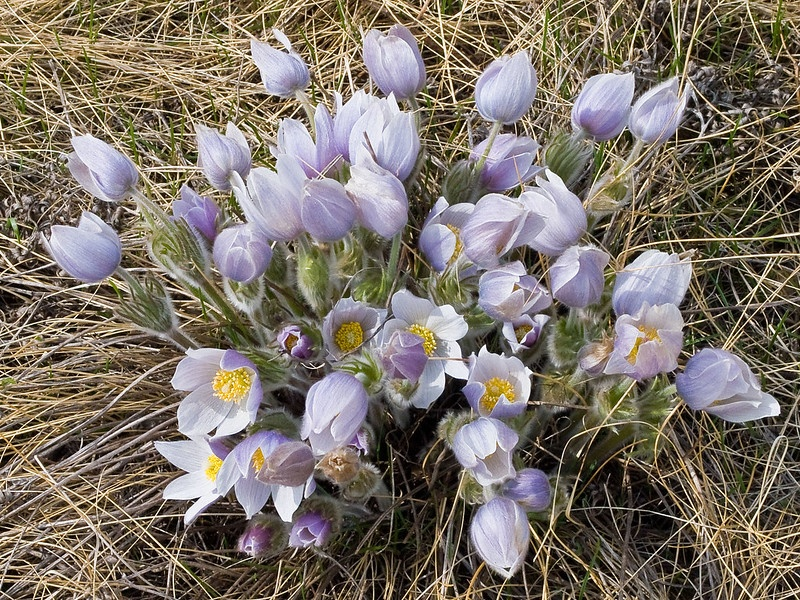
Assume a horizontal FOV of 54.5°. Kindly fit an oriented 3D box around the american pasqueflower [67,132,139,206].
[{"bbox_3d":[-1.077,-0.463,2.861,0.275,0.123,0.224,31,81,-29],"label":"american pasqueflower"}]

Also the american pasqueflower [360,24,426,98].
[{"bbox_3d":[-0.018,-0.889,2.917,0.216,0.187,0.246,-5,81,-1],"label":"american pasqueflower"}]

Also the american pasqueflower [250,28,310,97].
[{"bbox_3d":[-0.470,-0.917,3.071,0.169,0.131,0.291,-28,105,-6],"label":"american pasqueflower"}]

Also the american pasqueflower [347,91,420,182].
[{"bbox_3d":[-0.039,-0.560,2.651,0.232,0.227,0.323,-12,106,-35],"label":"american pasqueflower"}]
